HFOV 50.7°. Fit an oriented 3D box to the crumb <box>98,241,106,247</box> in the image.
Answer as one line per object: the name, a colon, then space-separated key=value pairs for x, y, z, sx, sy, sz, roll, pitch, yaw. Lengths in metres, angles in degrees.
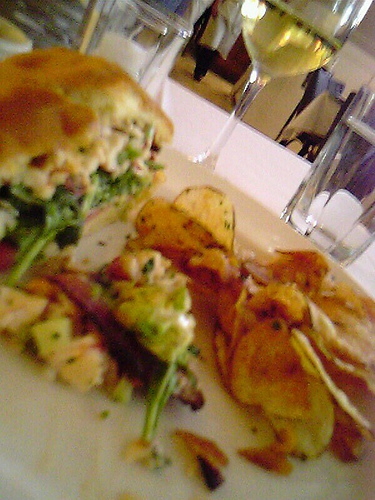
crumb: x=-0.087 y=-0.006 z=0.403 sx=0.008 sy=0.002 sz=0.006 roll=24 pitch=23 yaw=-13

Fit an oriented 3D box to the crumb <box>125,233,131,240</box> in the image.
crumb: x=-0.064 y=-0.015 z=0.425 sx=0.007 sy=0.002 sz=0.006 roll=7 pitch=55 yaw=-18

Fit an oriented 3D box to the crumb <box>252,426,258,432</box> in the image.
crumb: x=0.058 y=0.156 z=0.343 sx=0.003 sy=0.001 sz=0.003 roll=2 pitch=27 yaw=9

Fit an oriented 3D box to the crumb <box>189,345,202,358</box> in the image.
crumb: x=0.007 y=0.093 z=0.365 sx=0.012 sy=0.003 sz=0.009 roll=52 pitch=23 yaw=-10

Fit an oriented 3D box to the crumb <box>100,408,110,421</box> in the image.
crumb: x=-0.063 y=0.127 z=0.304 sx=0.006 sy=0.002 sz=0.009 roll=46 pitch=15 yaw=-4

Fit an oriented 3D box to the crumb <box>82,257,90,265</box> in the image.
crumb: x=-0.098 y=0.010 z=0.378 sx=0.006 sy=0.002 sz=0.005 roll=9 pitch=32 yaw=-17
